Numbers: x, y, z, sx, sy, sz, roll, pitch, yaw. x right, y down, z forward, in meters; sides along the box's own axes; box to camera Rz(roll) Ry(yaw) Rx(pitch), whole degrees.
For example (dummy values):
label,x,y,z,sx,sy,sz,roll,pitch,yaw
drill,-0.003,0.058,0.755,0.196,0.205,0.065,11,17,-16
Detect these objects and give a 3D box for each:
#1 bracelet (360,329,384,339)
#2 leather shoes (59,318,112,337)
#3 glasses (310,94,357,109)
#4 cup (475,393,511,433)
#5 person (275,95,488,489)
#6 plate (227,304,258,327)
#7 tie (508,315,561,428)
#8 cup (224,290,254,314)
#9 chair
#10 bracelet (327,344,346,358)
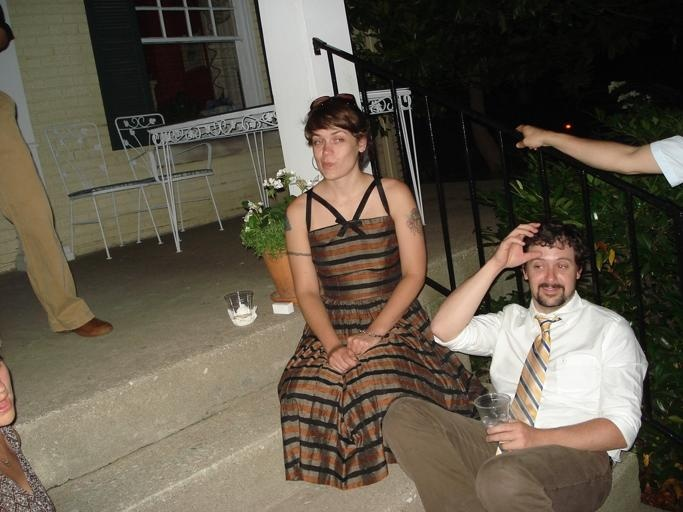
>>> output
label,x,y,z,sx,sy,sz,roll,pitch,yaw
bracelet,0.152,0.383,2.358,0.102,0.037,0.059,-2,18,12
leather shoes,-1.606,0.453,3.103,0.298,0.125,0.100,-10,3,13
glasses,-0.036,-0.846,2.632,0.180,0.066,0.176,-15,7,-11
cup,0.615,0.617,1.989,0.139,0.101,0.145,-11,-1,0
person,0.098,0.128,2.417,1.030,1.663,0.985,-2,29,12
plate,-0.589,0.361,2.969,0.131,0.091,0.141,-2,-11,1
tie,0.847,0.503,2.149,0.137,0.507,0.035,10,-9,29
cup,-0.618,0.281,2.991,0.142,0.102,0.145,-5,-19,-2
chair,-2.470,-0.807,5.649,0.695,1.350,1.670,16,25,40
bracelet,-0.026,0.445,2.327,0.063,0.026,0.048,-44,18,-19
